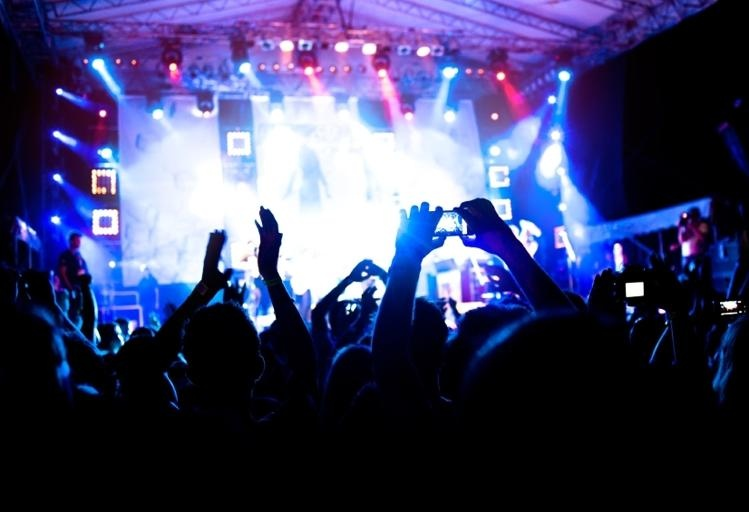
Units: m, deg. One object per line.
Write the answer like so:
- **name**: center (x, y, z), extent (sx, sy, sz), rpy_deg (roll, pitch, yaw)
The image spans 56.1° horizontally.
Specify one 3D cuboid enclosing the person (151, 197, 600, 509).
- **person**: center (-0.315, 0.891, 4.614), extent (1.519, 2.141, 0.987), rpy_deg (2, -16, -1)
